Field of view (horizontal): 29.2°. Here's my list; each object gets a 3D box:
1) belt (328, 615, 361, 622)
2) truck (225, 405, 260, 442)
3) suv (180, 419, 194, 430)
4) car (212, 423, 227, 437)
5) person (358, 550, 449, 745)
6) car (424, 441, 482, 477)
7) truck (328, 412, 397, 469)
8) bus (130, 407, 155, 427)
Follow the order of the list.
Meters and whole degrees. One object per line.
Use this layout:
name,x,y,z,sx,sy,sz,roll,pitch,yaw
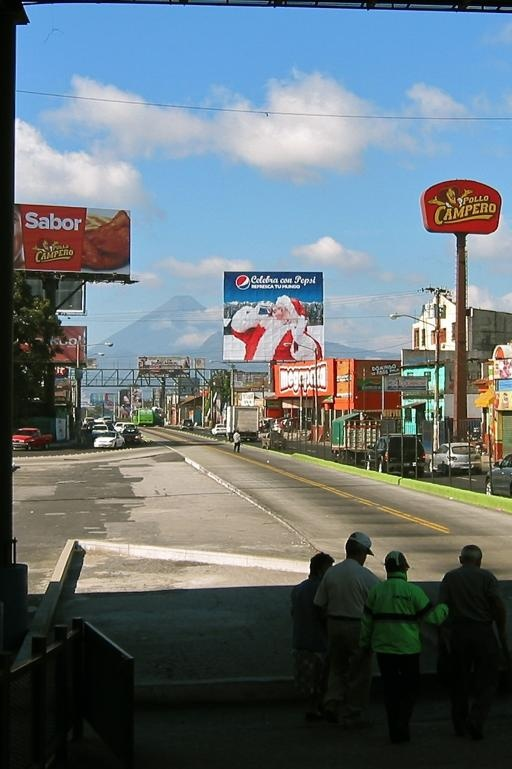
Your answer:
belt,0.723,1.907,8.057,0.253,0.055,0.077,0,-2,6
truck,-1.056,3.202,80.640,2.374,2.881,3.633,0,-2,-3
suv,-8.914,5.224,129.190,1.002,0.976,1.773,0,8,-5
car,-3.765,4.720,101.062,1.004,0.922,1.867,0,12,-5
person,1.164,2.073,7.738,0.656,1.490,0.355,0,-2,11
car,8.130,2.979,39.867,1.414,1.066,2.442,-1,2,-6
truck,5.327,2.652,50.468,2.013,2.043,3.887,0,-4,-6
bus,-16.595,4.447,145.557,2.639,2.274,7.651,1,-4,-6
